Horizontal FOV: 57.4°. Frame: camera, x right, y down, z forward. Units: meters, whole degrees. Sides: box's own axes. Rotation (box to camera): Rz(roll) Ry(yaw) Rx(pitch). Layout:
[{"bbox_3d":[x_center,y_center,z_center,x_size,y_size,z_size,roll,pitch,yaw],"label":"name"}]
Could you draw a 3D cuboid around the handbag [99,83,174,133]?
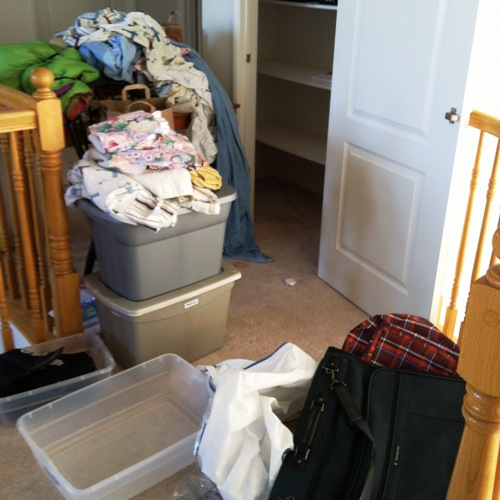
[{"bbox_3d":[-0.535,-0.660,2.179,0.324,0.238,0.593,-2,28,-6],"label":"handbag"}]
